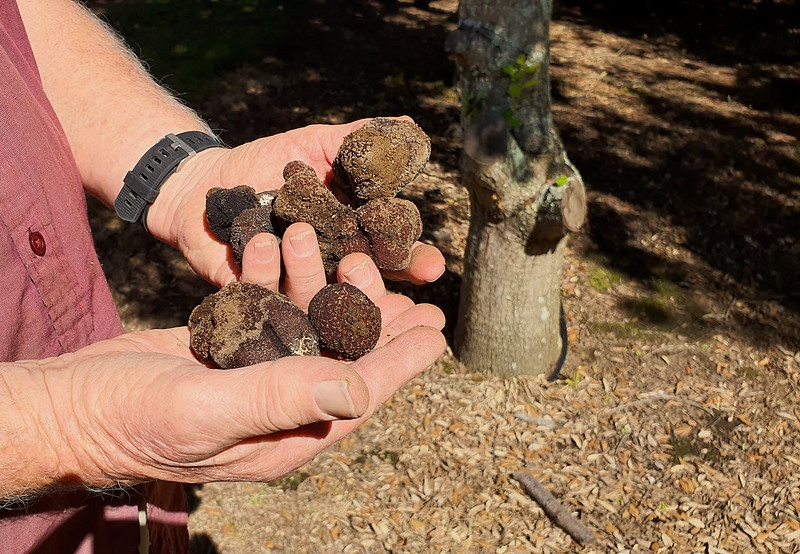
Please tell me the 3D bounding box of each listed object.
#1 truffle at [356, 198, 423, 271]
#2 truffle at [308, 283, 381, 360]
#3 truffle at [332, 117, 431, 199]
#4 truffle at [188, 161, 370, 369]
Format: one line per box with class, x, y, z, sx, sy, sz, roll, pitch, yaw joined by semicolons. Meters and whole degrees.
truffle;-0.055;-0.271;4.605;0.397;0.431;0.133;-10;7;-18
truffle;-0.349;0.293;4.577;0.392;0.274;0.461;-27;89;-13
truffle;-0.086;-0.753;4.787;0.526;0.576;0.523;-10;11;-44
truffle;-0.730;-0.050;4.520;1.203;0.486;0.413;40;64;17
